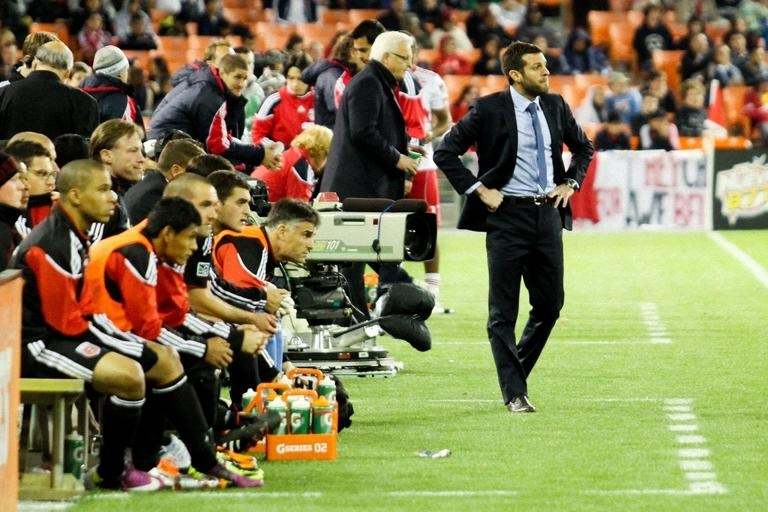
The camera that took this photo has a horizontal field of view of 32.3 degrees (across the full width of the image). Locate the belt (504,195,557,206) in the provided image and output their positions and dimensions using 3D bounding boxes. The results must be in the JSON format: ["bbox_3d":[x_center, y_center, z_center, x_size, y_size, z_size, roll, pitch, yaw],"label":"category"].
[{"bbox_3d":[1.066,-0.419,9.746,0.381,0.073,0.046,1,9,-4],"label":"belt"}]

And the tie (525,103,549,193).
[{"bbox_3d":[1.129,-0.818,9.776,0.091,0.643,0.183,-4,10,-27],"label":"tie"}]

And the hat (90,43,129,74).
[{"bbox_3d":[-2.440,-1.751,11.683,0.258,0.223,0.280,16,31,42],"label":"hat"}]

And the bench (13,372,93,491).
[{"bbox_3d":[-1.992,0.993,7.960,0.614,0.416,0.440,1,1,-6],"label":"bench"}]

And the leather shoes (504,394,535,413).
[{"bbox_3d":[1.003,1.098,9.789,0.228,0.111,0.088,-2,-3,18],"label":"leather shoes"}]

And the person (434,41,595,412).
[{"bbox_3d":[0.968,-0.245,9.881,1.099,2.696,0.736,2,9,5],"label":"person"}]
